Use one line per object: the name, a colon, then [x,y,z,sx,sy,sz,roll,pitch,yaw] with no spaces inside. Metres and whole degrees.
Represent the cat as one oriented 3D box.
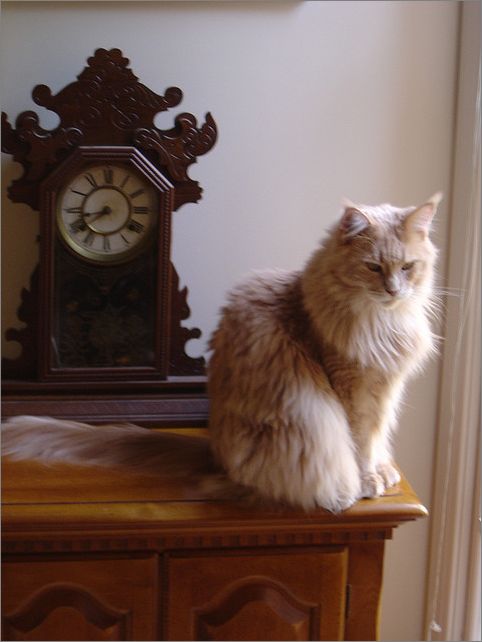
cat: [-0.074,0.048,1.632,0.848,0.541,0.267,-2,9,-6]
